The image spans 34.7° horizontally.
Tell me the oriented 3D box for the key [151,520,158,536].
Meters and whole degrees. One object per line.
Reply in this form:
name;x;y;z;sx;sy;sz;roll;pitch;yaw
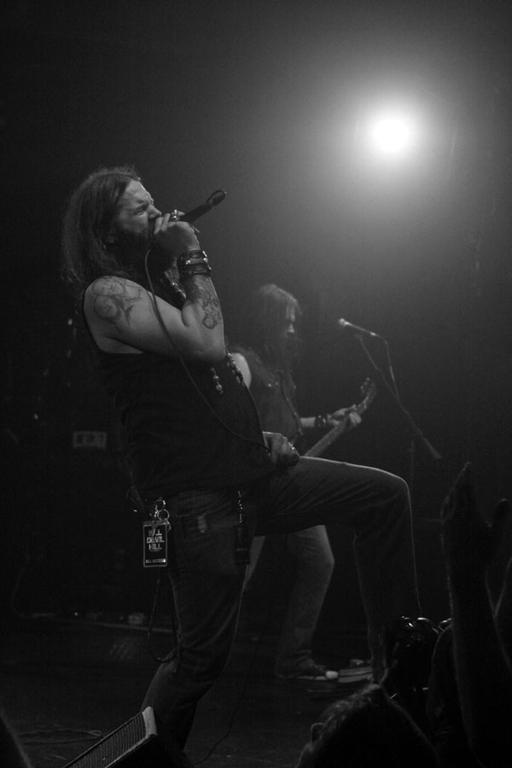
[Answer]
key;-0.255;0.362;2.074;0.008;0.034;0.010;-10;-18;41

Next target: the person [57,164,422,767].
person;-0.030;0.237;2.240;0.813;1.637;0.585;-11;4;-6

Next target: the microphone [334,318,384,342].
microphone;0.290;-0.152;2.302;0.144;0.048;0.040;27;-11;4

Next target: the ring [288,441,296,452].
ring;0.099;0.167;2.193;0.005;0.021;0.021;-27;-14;15

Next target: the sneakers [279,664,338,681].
sneakers;0.144;0.756;2.198;0.161;0.065;0.055;-1;-8;1

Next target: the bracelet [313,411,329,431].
bracelet;0.182;0.103;2.266;0.048;0.026;0.064;0;4;6
